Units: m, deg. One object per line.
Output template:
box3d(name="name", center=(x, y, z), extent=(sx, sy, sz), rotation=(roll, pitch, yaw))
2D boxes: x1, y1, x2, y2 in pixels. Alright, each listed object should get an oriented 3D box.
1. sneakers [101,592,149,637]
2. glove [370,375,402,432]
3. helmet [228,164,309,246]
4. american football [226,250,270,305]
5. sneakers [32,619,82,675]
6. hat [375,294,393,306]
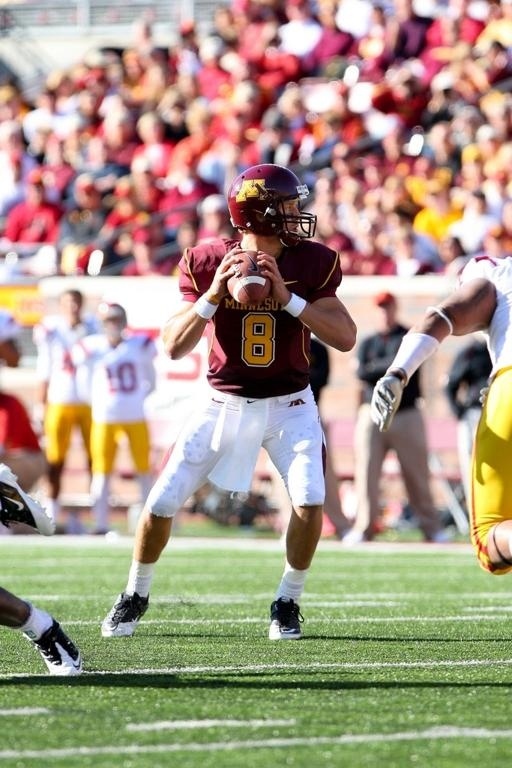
box3d(name="sneakers", center=(-0.410, 0.737, 3.083), extent=(0.073, 0.086, 0.197), rotation=(34, 46, 6))
box3d(name="glove", center=(0.331, 0.049, 2.287), extent=(0.060, 0.120, 0.084), rotation=(15, 4, -37))
box3d(name="helmet", center=(0.063, -0.575, 3.057), extent=(0.290, 0.243, 0.236), rotation=(5, 14, -12))
box3d(name="american football", center=(-0.018, -0.291, 2.758), extent=(0.115, 0.147, 0.095), rotation=(-11, -33, 6))
box3d(name="sneakers", center=(-0.459, 0.631, 2.267), extent=(0.117, 0.137, 0.086), rotation=(14, 15, 19))
box3d(name="hat", center=(0.914, -0.597, 6.824), extent=(0.119, 0.098, 0.151), rotation=(7, 13, -4))
